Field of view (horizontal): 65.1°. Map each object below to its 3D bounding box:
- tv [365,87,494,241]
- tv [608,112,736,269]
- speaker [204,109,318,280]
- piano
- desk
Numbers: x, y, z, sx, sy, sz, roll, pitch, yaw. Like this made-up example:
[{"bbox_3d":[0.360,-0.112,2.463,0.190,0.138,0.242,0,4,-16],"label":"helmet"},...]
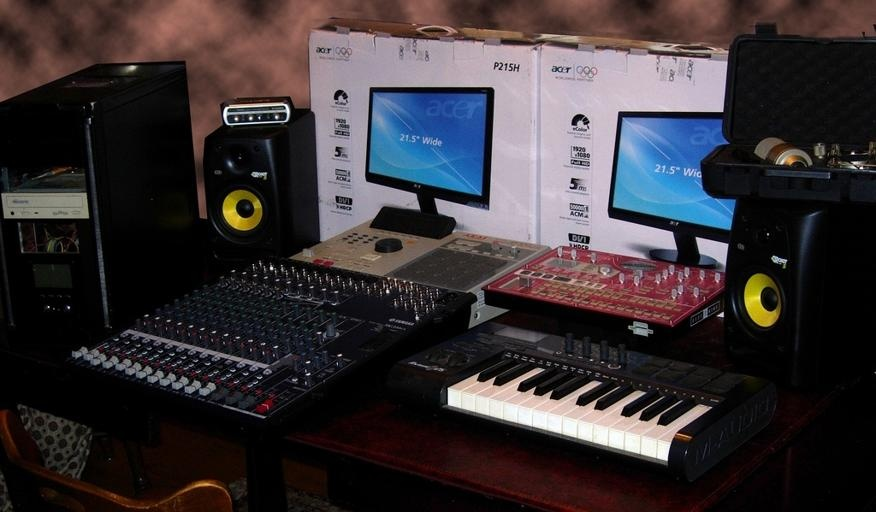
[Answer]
[{"bbox_3d":[-0.032,-0.448,3.186,0.714,0.584,0.252,14,28,27],"label":"tv"},{"bbox_3d":[0.949,-0.275,2.730,0.666,0.561,0.225,13,19,40],"label":"tv"},{"bbox_3d":[-0.822,-0.320,3.317,0.610,0.719,0.429,-11,21,-27],"label":"speaker"},{"bbox_3d":[0.448,0.431,2.212,1.132,0.239,0.412,7,19,23],"label":"piano"},{"bbox_3d":[0.109,0.200,2.017,1.956,0.412,0.769,10,32,24],"label":"desk"}]
